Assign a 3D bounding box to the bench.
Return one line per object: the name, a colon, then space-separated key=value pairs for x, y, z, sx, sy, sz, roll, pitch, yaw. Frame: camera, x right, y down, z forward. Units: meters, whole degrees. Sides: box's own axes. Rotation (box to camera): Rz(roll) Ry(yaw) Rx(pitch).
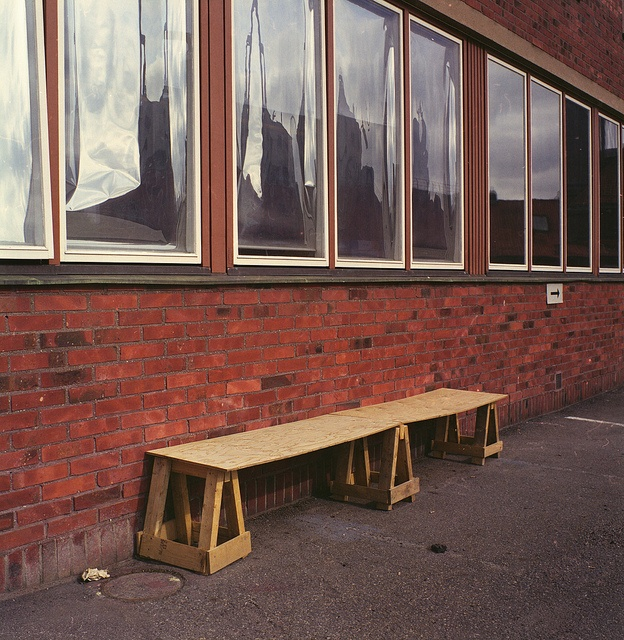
bench: x=0.372 y=0.931 z=4.442 sx=0.697 sy=0.615 sz=3.393 roll=5 pitch=6 yaw=42
